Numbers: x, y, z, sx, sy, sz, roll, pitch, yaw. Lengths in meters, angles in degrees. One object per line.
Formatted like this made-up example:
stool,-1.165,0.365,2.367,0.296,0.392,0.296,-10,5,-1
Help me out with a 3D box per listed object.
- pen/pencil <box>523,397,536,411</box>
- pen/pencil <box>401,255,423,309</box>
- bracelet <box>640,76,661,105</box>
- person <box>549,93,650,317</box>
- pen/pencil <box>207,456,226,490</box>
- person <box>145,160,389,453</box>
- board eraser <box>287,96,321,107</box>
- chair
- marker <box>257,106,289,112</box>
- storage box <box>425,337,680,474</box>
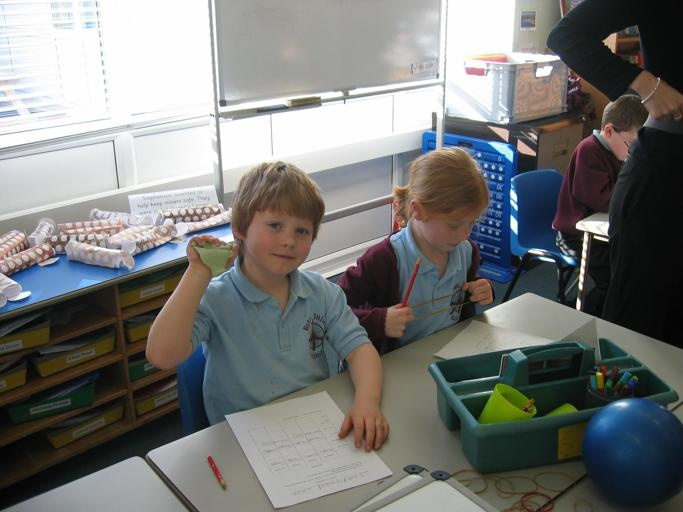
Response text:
pen/pencil,0.353,0.279,0.945,0.021,0.024,0.016,-1,31,-1
pen/pencil,0.200,0.065,1.415,0.016,0.019,0.219,21,42,5
bracelet,0.918,-0.492,1.476,0.015,0.066,0.056,15,44,35
person,1.339,-0.154,2.617,0.357,1.235,0.357,10,17,29
pen/pencil,-0.229,0.391,0.907,0.017,0.015,0.100,-14,31,-19
person,-0.172,0.183,1.151,0.523,0.794,0.423,-8,17,-32
board eraser,-0.178,-0.704,2.252,0.063,0.043,0.209,15,30,41
chair,1.011,-0.037,2.521,0.445,0.627,0.446,-2,16,-23
marker,-0.293,-0.636,2.128,0.025,0.026,0.165,14,29,39
storage box,0.412,0.251,1.012,0.378,0.195,0.242,-9,26,-16
